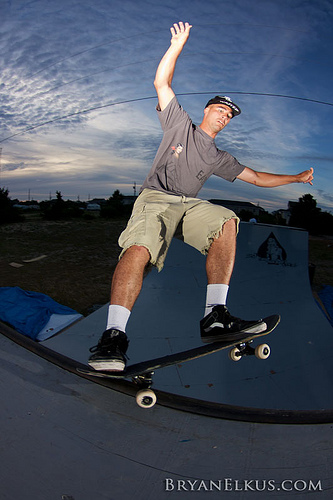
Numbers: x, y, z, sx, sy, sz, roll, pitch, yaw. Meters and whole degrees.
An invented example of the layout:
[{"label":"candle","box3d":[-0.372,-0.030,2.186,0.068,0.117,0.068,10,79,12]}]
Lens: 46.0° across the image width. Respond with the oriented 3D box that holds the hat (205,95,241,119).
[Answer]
[{"label":"hat","box3d":[0.515,-1.308,3.574,0.307,0.148,0.237,6,10,6]}]
